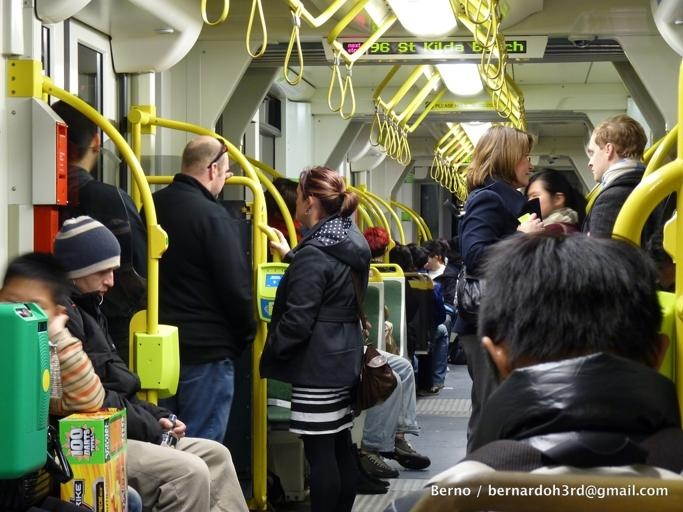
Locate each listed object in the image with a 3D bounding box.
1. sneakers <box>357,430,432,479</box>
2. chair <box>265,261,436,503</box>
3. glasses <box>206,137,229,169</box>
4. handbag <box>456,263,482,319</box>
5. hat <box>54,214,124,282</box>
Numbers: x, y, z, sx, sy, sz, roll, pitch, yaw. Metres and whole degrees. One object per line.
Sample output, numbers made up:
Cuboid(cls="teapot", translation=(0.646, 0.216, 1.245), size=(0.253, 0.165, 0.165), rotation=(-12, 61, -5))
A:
Cuboid(cls="sneakers", translation=(0.338, 1.424, 5.634), size=(0.619, 0.257, 0.198), rotation=(-2, -3, -5))
Cuboid(cls="chair", translation=(0.023, 0.788, 5.781), size=(1.051, 1.507, 0.934), rotation=(-4, -9, 22))
Cuboid(cls="glasses", translation=(-0.649, -0.545, 4.233), size=(0.044, 0.134, 0.134), rotation=(20, -6, -28))
Cuboid(cls="handbag", translation=(0.627, 0.173, 3.879), size=(0.126, 0.225, 0.238), rotation=(-4, 12, -1))
Cuboid(cls="hat", translation=(-1.096, -0.037, 3.452), size=(0.287, 0.279, 0.291), rotation=(-11, 15, -38))
